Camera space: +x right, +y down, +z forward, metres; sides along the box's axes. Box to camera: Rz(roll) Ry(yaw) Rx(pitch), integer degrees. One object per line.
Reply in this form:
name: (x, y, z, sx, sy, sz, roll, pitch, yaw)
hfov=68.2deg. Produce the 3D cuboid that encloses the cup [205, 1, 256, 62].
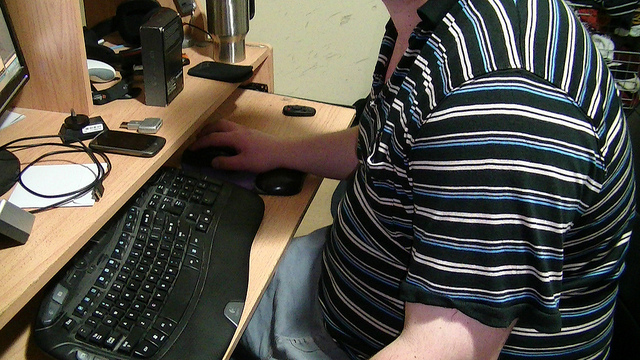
cup: (-0.298, -0.486, 1.549, 0.120, 0.211, 0.183, 18, 34, 28)

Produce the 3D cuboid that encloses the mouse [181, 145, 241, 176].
mouse: (-0.315, -0.056, 1.370, 0.153, 0.044, 0.082, -3, 33, -7)

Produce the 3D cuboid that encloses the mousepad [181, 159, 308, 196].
mousepad: (-0.162, -0.027, 1.351, 0.217, 0.046, 0.127, 15, 21, 10)

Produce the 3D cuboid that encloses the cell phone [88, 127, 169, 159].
cell phone: (-0.489, -0.094, 1.194, 0.158, 0.015, 0.078, 9, 46, 6)
